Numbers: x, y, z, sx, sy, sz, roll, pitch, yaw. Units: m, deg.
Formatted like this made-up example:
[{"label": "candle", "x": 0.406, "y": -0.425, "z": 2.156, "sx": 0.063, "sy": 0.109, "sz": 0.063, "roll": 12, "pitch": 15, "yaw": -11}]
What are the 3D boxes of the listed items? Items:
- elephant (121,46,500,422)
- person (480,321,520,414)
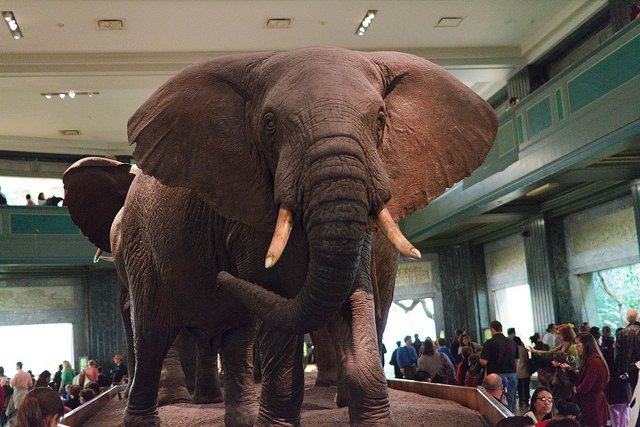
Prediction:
[{"label": "elephant", "x": -0.757, "y": 0.341, "z": 5.677, "sx": 2.802, "sy": 2.372, "sz": 3.970, "roll": 4, "pitch": -13, "yaw": -32}, {"label": "person", "x": 2.783, "y": 2.495, "z": 8.765, "sx": 0.595, "sy": 1.628, "sz": 0.501, "roll": 2, "pitch": -1, "yaw": -12}]
